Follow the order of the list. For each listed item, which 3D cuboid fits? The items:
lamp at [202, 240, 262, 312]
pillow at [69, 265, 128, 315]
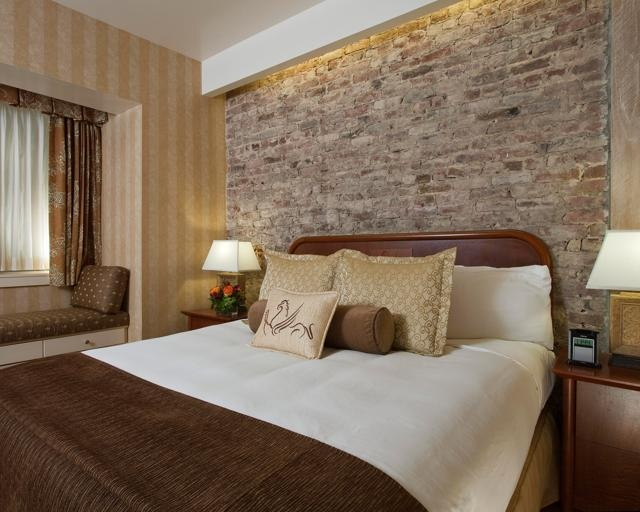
[{"bbox_3d":[-0.808,0.162,4.157,0.586,0.561,0.537,1,2,-16],"label":"lamp"},{"bbox_3d":[-2.050,0.303,4.140,0.693,0.406,0.257,3,8,32],"label":"pillow"}]
